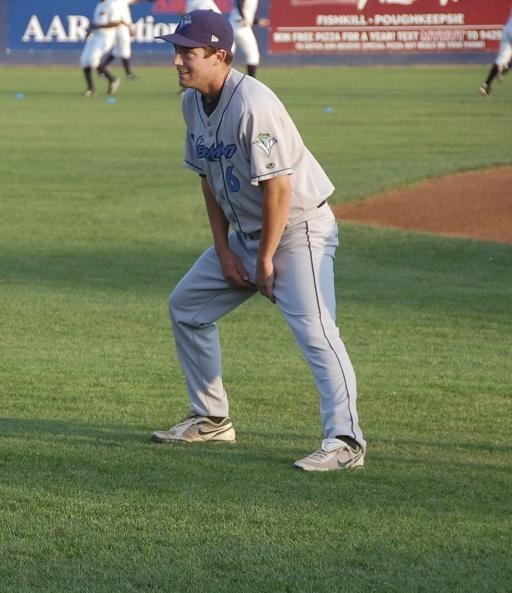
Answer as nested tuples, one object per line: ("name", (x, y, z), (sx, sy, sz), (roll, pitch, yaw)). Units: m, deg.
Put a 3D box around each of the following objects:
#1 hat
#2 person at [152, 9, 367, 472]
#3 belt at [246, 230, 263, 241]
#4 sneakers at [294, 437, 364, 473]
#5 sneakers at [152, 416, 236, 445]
("hat", (-0.257, -1.251, 7.005), (0.259, 0.151, 0.190), (12, 11, -6))
("person", (0.004, -0.282, 7.117), (1.093, 2.113, 0.591), (8, 16, 29))
("belt", (-0.012, -0.294, 7.231), (0.061, 0.040, 0.047), (2, -20, 47))
("sneakers", (0.345, 0.738, 7.013), (0.337, 0.149, 0.134), (0, 2, -29))
("sneakers", (-0.313, 0.682, 7.339), (0.400, 0.175, 0.161), (2, -7, -11))
